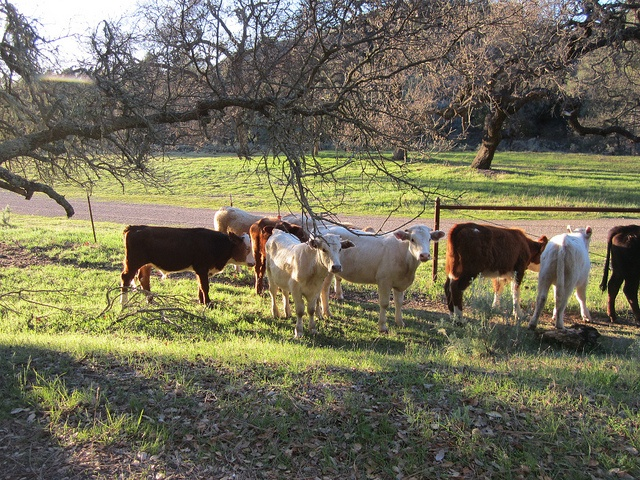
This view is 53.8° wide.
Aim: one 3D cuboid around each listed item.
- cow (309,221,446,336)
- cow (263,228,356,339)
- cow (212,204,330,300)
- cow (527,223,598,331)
[{"bbox_3d":[1.240,0.812,14.126,3.220,2.405,1.184,6,10,41],"label":"cow"},{"bbox_3d":[-0.345,0.935,13.401,0.994,2.153,2.348,1,2,-22],"label":"cow"},{"bbox_3d":[-1.766,0.052,16.940,3.755,2.159,1.394,11,11,42],"label":"cow"},{"bbox_3d":[5.440,0.836,14.151,1.012,2.253,2.079,3,2,34],"label":"cow"}]
